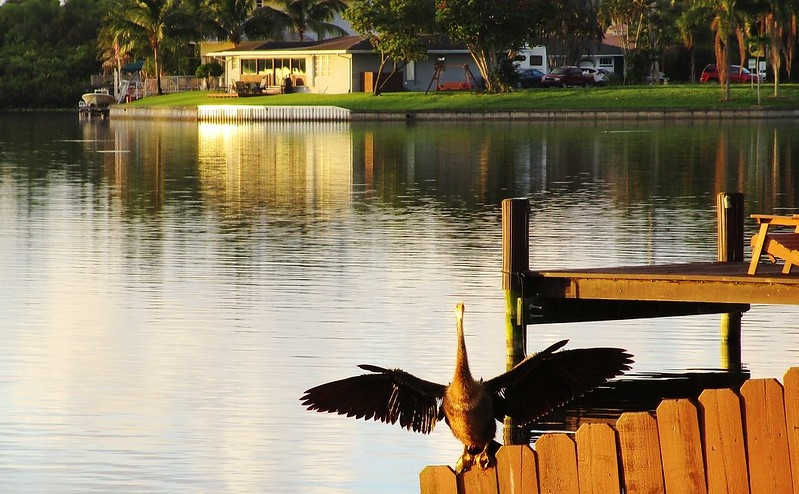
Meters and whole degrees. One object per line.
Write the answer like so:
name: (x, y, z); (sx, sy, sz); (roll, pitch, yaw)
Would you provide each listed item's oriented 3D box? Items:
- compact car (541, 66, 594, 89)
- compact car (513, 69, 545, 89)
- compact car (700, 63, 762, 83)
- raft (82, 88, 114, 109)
compact car: (10.087, -9.785, 118.752); (2.408, 0.925, 1.357); (0, 6, -22)
compact car: (7.848, -10.019, 121.633); (1.705, 0.787, 1.221); (5, 6, 6)
compact car: (19.490, -9.843, 119.085); (3.140, 1.353, 1.513); (0, 7, 20)
raft: (-20.169, -9.802, 134.980); (1.087, 0.999, 3.246); (-2, 3, -3)
